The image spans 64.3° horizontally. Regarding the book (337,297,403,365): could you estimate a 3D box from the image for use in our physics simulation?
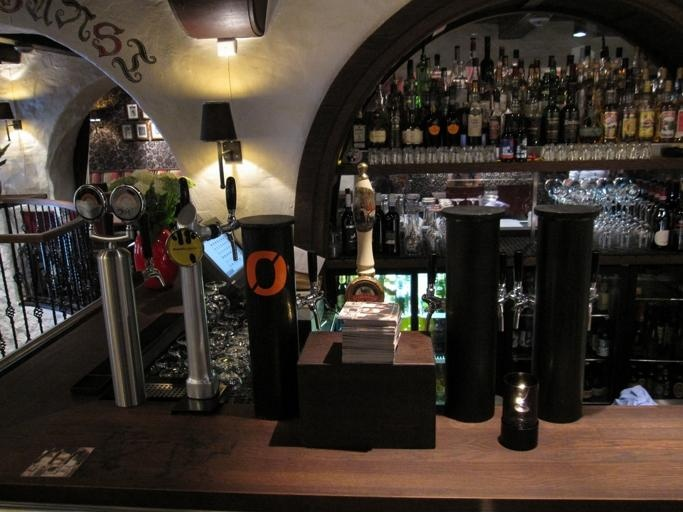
[{"bbox_3d":[0.098,0.262,1.835,0.190,0.176,0.138,0,8,9],"label":"book"}]

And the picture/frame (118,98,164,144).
[{"bbox_3d":[-3.592,-2.413,9.742,0.673,0.709,0.203,0,8,7],"label":"picture/frame"}]

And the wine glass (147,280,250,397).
[{"bbox_3d":[-0.564,0.373,2.299,0.380,0.133,0.571,0,34,0],"label":"wine glass"}]

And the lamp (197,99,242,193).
[{"bbox_3d":[-0.867,-0.791,3.913,0.281,0.613,0.307,-2,8,-3],"label":"lamp"}]

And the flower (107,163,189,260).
[{"bbox_3d":[-0.875,-0.197,2.725,0.482,0.520,0.389,-1,12,-27],"label":"flower"}]

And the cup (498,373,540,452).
[{"bbox_3d":[0.599,0.509,1.827,0.127,0.217,0.187,2,9,20],"label":"cup"}]
